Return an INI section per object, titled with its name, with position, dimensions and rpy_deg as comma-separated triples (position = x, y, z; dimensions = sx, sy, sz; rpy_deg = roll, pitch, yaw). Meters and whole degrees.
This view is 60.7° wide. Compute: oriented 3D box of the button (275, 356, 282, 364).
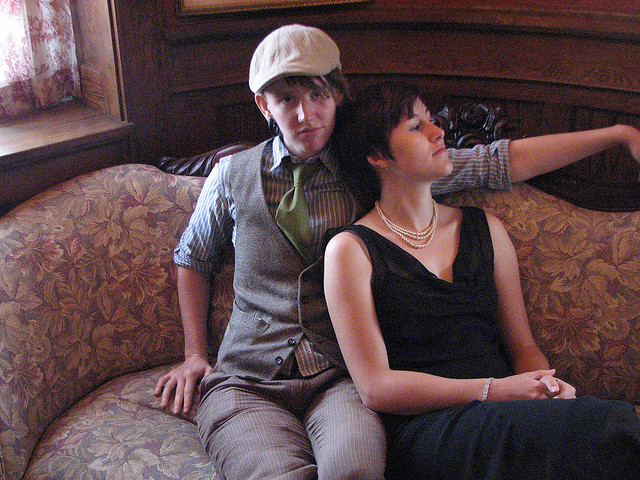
[button]
position = -0.111, 0.319, 1.452
dimensions = 0.021, 0.020, 0.008
rpy_deg = 8, 18, 24

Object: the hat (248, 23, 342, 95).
[hat]
position = -0.066, -0.490, 1.487
dimensions = 0.252, 0.183, 0.118
rpy_deg = -2, 16, -7

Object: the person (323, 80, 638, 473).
[person]
position = 0.334, 0.094, 1.314
dimensions = 0.654, 0.886, 0.620
rpy_deg = 1, 16, 4
